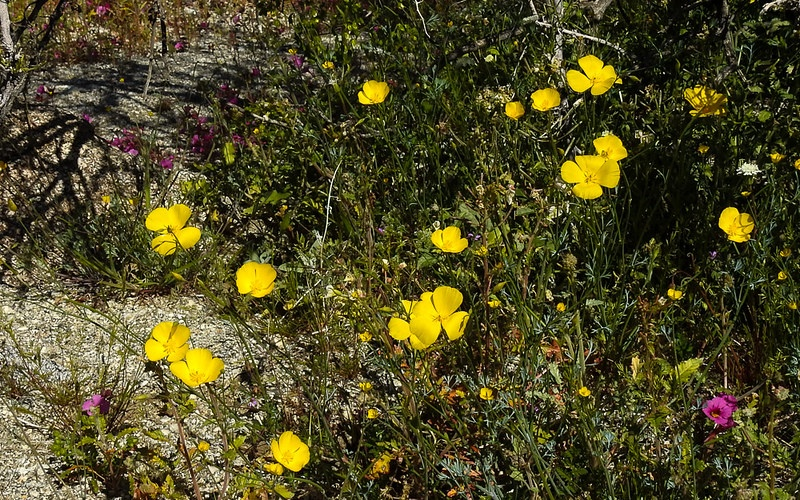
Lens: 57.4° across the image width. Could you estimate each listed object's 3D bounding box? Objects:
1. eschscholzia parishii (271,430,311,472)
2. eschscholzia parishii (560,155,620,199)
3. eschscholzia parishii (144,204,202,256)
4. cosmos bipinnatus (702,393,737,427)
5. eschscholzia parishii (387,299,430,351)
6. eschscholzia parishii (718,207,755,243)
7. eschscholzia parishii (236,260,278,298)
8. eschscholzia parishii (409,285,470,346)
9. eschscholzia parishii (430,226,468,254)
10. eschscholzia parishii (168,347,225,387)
[{"bbox_3d":[-0.516,0.948,3.416,0.170,0.184,0.090,16,-37,-26],"label":"eschscholzia parishii"},{"bbox_3d":[0.922,-0.362,3.541,0.260,0.109,0.308,15,-22,-40],"label":"eschscholzia parishii"},{"bbox_3d":[-1.122,-0.103,3.619,0.259,0.295,0.204,11,-24,-10],"label":"eschscholzia parishii"},{"bbox_3d":[1.463,0.732,3.346,0.151,0.160,0.137,-3,-26,21],"label":"cosmos bipinnatus"},{"bbox_3d":[0.014,0.333,3.266,0.188,0.214,0.068,-2,-26,-9],"label":"eschscholzia parishii"},{"bbox_3d":[1.679,-0.128,3.685,0.159,0.169,0.082,-43,-12,4],"label":"eschscholzia parishii"},{"bbox_3d":[-0.695,0.157,3.576,0.163,0.181,0.154,-6,-27,25],"label":"eschscholzia parishii"},{"bbox_3d":[0.166,0.295,3.271,0.231,0.272,0.087,-15,-21,-10],"label":"eschscholzia parishii"},{"bbox_3d":[0.235,-0.049,3.562,0.163,0.152,0.141,8,-24,-3],"label":"eschscholzia parishii"},{"bbox_3d":[-0.947,0.551,3.375,0.186,0.195,0.076,-32,-11,-8],"label":"eschscholzia parishii"}]
